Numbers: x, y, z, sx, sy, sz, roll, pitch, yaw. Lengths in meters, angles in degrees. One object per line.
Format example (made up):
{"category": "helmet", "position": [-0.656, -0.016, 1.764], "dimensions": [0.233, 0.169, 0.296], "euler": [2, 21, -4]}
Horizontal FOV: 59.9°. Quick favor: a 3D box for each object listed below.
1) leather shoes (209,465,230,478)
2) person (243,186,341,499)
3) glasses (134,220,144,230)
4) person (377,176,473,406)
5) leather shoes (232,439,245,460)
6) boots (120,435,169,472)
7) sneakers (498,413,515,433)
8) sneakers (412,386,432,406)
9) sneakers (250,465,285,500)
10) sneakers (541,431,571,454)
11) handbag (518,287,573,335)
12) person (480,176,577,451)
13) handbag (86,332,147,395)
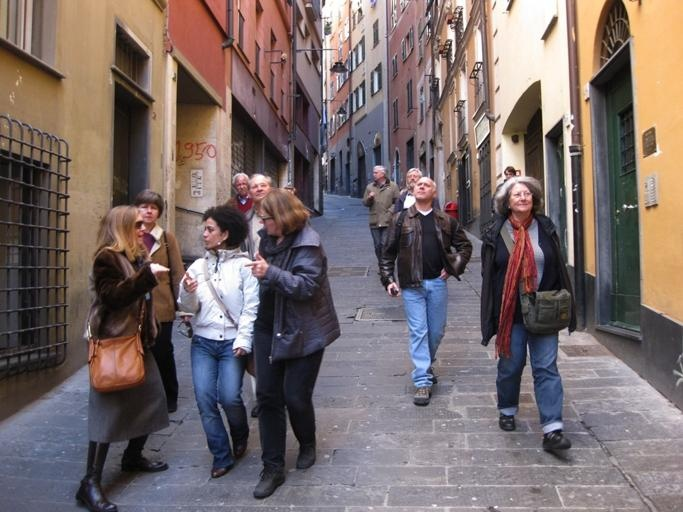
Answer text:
{"category": "leather shoes", "position": [-0.924, 1.627, 4.503], "dimensions": [0.061, 0.082, 0.181], "euler": [-2, -4, 17]}
{"category": "person", "position": [-0.394, 0.580, 4.411], "dimensions": [0.729, 2.136, 0.532], "euler": [-5, 8, -24]}
{"category": "glasses", "position": [-1.500, -0.233, 4.392], "dimensions": [0.037, 0.056, 0.049], "euler": [5, -29, -19]}
{"category": "person", "position": [0.875, 0.283, 6.024], "dimensions": [0.821, 2.142, 0.814], "euler": [-5, 8, -25]}
{"category": "leather shoes", "position": [-0.825, 1.536, 4.761], "dimensions": [0.060, 0.192, 0.074], "euler": [1, 0, 28]}
{"category": "boots", "position": [-1.604, 1.541, 4.659], "dimensions": [0.130, 0.285, 0.286], "euler": [6, -17, -1]}
{"category": "sneakers", "position": [1.437, 1.440, 5.131], "dimensions": [0.067, 0.090, 0.210], "euler": [1, 10, 0]}
{"category": "sneakers", "position": [0.790, 1.335, 5.734], "dimensions": [0.132, 0.157, 0.221], "euler": [2, 9, 22]}
{"category": "sneakers", "position": [-0.529, 1.606, 4.278], "dimensions": [0.119, 0.184, 0.390], "euler": [-9, -4, 20]}
{"category": "sneakers", "position": [1.650, 1.451, 4.596], "dimensions": [0.101, 0.160, 0.299], "euler": [-3, -17, -14]}
{"category": "handbag", "position": [1.695, 0.435, 4.787], "dimensions": [0.306, 0.365, 0.199], "euler": [-1, -4, 1]}
{"category": "person", "position": [1.514, 0.433, 4.910], "dimensions": [0.808, 2.137, 0.642], "euler": [4, 9, 37]}
{"category": "handbag", "position": [-1.591, 0.724, 4.180], "dimensions": [0.369, 0.446, 0.230], "euler": [-1, 6, -24]}
